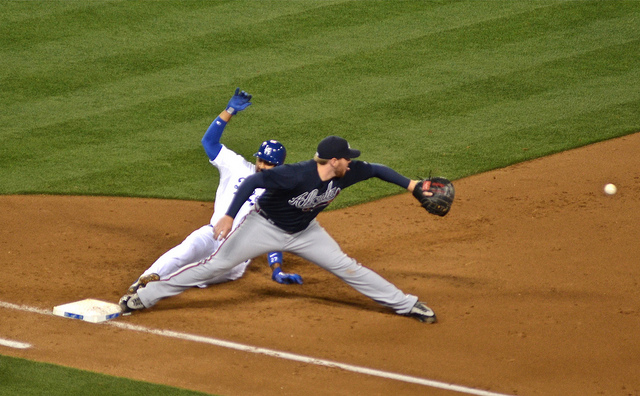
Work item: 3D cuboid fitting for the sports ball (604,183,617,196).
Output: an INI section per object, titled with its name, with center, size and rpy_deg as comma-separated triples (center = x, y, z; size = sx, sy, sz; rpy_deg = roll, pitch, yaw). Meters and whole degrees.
[sports ball]
center = 4.734, -0.163, 17.126
size = 0.188, 0.099, 0.175
rpy_deg = -7, 60, 12
